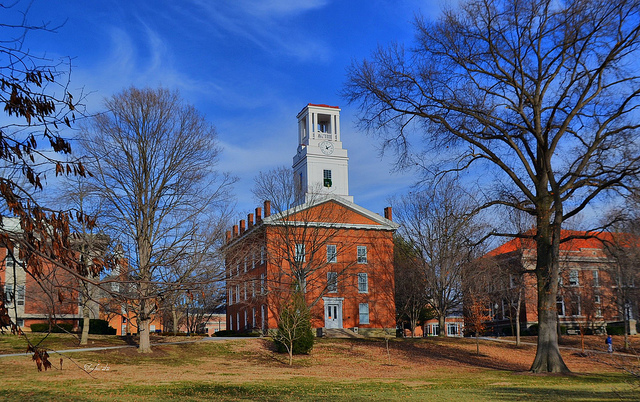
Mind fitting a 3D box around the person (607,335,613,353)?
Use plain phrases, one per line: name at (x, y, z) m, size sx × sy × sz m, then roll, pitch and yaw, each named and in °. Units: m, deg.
person at (23.414, 11.622, 57.541) m, size 0.348 × 1.386 × 2.515 m, roll -6°, pitch -17°, yaw 21°
